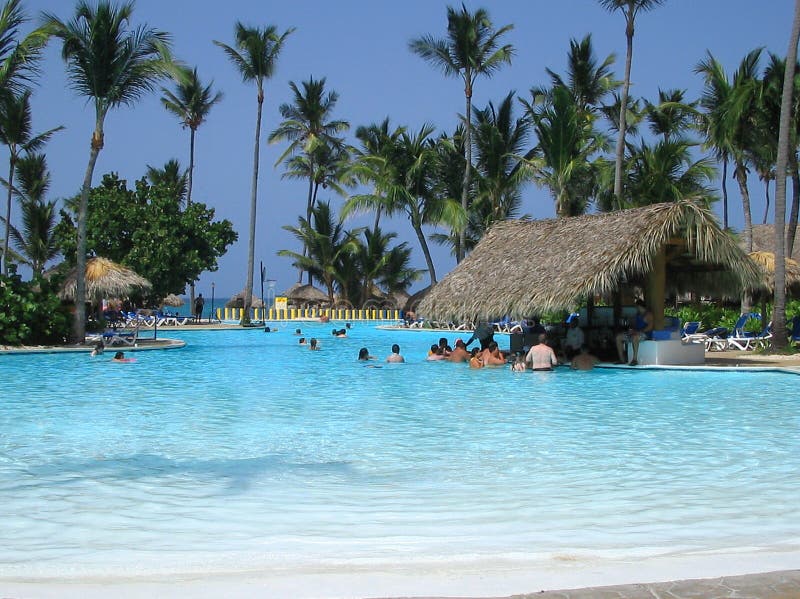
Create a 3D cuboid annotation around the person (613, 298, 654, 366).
[{"bbox_3d":[5.430,0.766,24.000,0.705,1.321,0.842,-3,9,-20],"label":"person"}]
